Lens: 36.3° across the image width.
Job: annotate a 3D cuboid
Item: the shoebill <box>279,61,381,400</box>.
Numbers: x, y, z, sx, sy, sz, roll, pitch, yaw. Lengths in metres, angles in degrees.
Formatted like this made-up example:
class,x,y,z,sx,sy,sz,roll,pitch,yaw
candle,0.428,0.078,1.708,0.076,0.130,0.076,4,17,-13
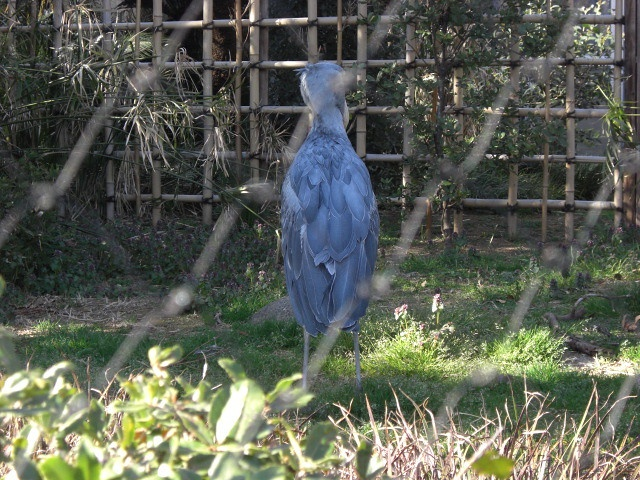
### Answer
class,x,y,z,sx,sy,sz,roll,pitch,yaw
shoebill,0.038,-0.153,8.140,0.651,2.595,1.219,0,6,-5
